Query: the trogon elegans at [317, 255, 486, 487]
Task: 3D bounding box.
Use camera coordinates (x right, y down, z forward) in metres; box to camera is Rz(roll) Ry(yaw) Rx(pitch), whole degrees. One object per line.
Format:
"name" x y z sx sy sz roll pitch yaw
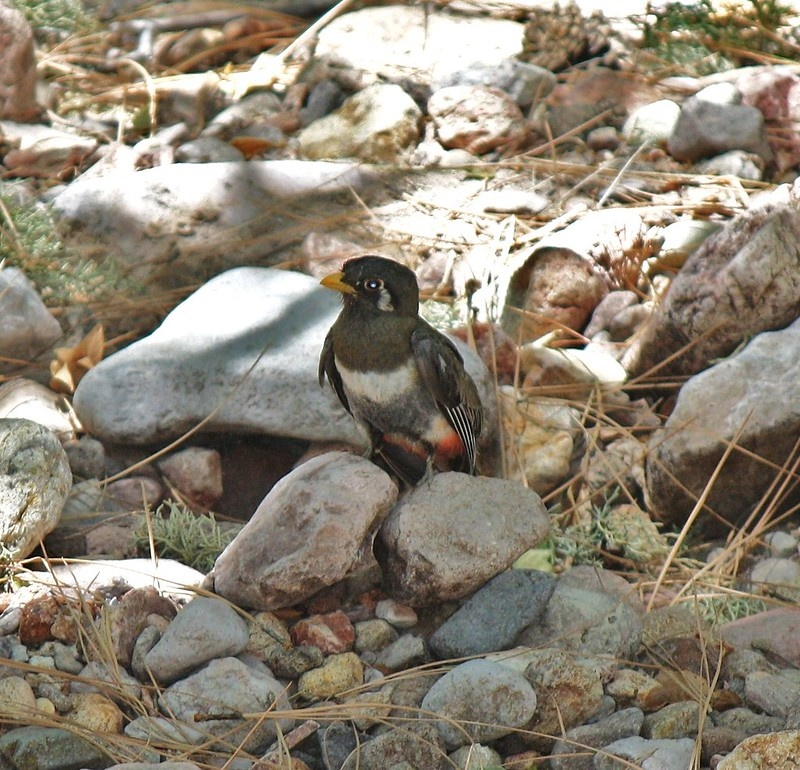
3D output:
"trogon elegans" 0.003 0.007 5.830 0.739 1.207 0.368 17 39 24
